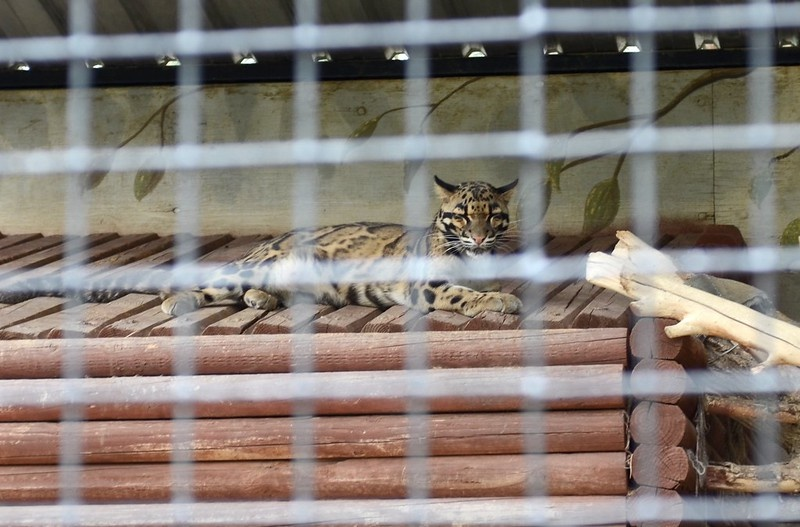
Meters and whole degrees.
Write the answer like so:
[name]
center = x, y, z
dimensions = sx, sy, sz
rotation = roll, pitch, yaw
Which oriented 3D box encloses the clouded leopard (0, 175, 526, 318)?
[clouded leopard]
center = -0.805, -0.104, 8.426
dimensions = 2.223, 0.607, 0.544
rotation = -6, -61, -2
